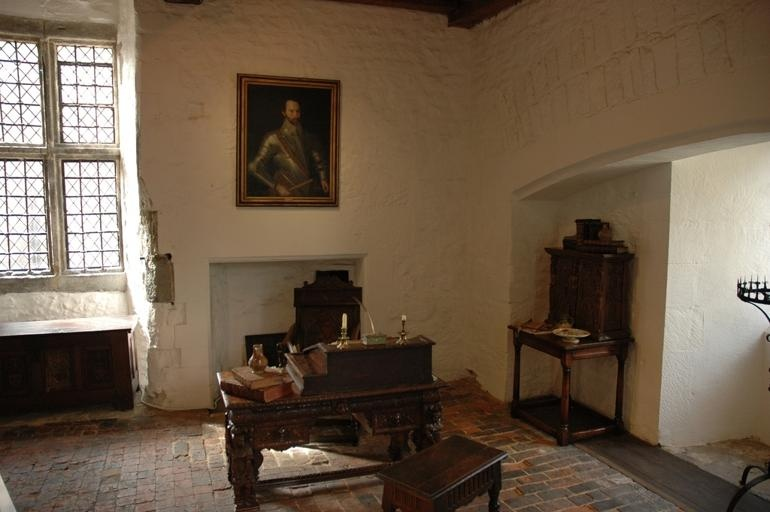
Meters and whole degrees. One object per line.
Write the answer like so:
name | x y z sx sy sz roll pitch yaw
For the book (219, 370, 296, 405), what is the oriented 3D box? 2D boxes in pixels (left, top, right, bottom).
book | -1.424 1.472 6.507 0.828 0.220 0.296 0 3 -1

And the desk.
desk | 2.530 1.734 8.197 1.088 1.298 1.343 -1 4 -18

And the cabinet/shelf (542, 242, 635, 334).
cabinet/shelf | 2.771 0.429 7.836 0.635 1.252 1.201 0 2 -27
